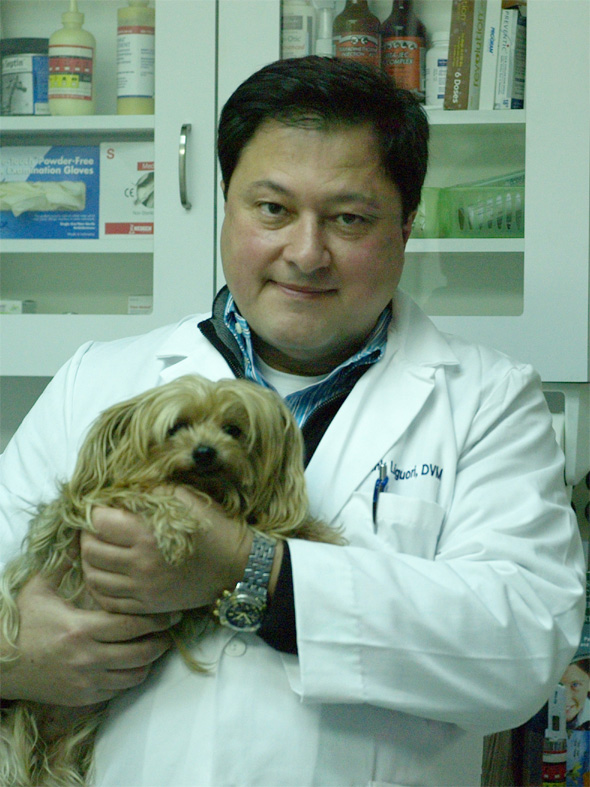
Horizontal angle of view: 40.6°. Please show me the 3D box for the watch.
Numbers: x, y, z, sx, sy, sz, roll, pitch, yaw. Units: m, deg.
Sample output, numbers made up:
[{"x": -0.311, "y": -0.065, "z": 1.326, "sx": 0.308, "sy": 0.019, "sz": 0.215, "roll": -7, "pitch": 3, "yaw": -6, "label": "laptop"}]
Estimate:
[{"x": -0.066, "y": 0.241, "z": 1.032, "sx": 0.071, "sy": 0.108, "sz": 0.106, "roll": 16, "pitch": 48, "yaw": 5, "label": "watch"}]
